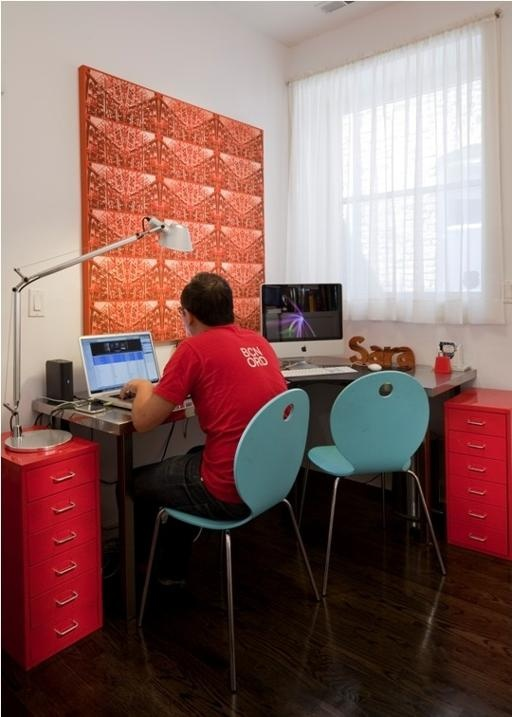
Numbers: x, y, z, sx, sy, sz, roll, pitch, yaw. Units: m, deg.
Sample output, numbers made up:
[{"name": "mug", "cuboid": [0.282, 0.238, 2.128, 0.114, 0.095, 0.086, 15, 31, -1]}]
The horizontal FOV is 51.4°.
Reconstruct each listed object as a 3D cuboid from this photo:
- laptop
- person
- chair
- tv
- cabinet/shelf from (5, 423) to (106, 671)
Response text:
[{"name": "laptop", "cuboid": [-0.516, 0.034, 2.259, 0.360, 0.226, 0.299, -6, -14, 24]}, {"name": "person", "cuboid": [-0.184, 0.300, 1.696, 0.430, 1.137, 0.587, -5, 6, -34]}, {"name": "chair", "cuboid": [0.127, 0.605, 1.819, 0.773, 0.572, 0.327, -7, 11, -38]}, {"name": "tv", "cuboid": [0.230, -0.174, 2.714, 0.444, 0.455, 0.155, -1, -2, -22]}, {"name": "cabinet/shelf", "cuboid": [-0.650, 0.581, 1.681, 0.196, 0.620, 0.306, 2, 6, 33]}]
